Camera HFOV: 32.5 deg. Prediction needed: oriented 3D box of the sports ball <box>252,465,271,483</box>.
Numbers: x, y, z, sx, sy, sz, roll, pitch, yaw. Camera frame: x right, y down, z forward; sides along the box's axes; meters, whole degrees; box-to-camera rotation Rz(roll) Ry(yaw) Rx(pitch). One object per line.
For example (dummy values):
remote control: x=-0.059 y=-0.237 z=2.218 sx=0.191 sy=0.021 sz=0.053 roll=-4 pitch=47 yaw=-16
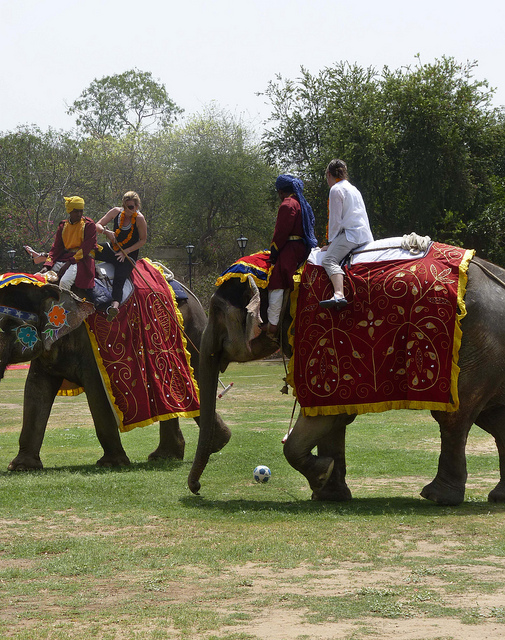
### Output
sports ball: x=0.086 y=1.321 z=7.410 sx=0.148 sy=0.119 sz=0.141 roll=7 pitch=-15 yaw=2

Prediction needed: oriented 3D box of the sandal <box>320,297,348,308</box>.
sandal: x=0.555 y=-0.108 z=6.022 sx=0.214 sy=0.059 sz=0.072 roll=3 pitch=28 yaw=-1
